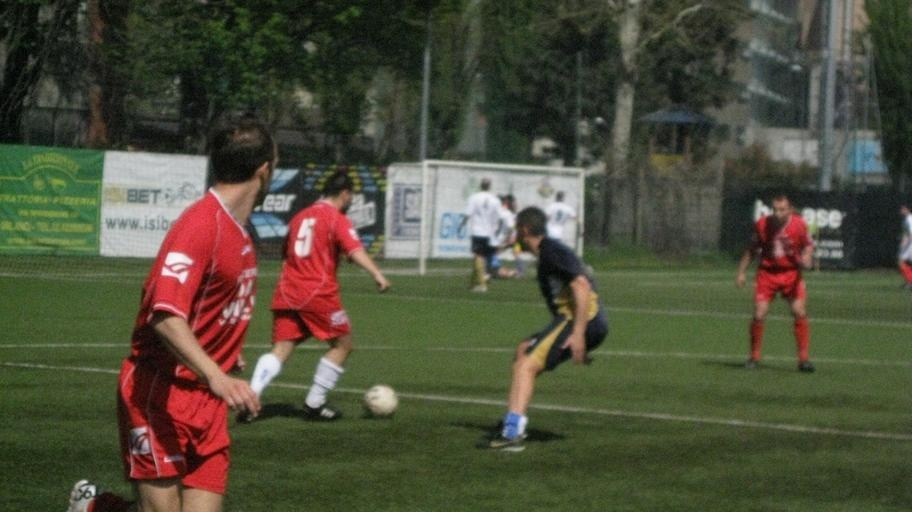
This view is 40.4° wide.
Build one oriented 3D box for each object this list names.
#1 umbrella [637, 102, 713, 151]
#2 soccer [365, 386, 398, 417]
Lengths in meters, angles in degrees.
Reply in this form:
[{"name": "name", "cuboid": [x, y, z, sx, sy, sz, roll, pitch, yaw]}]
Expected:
[{"name": "umbrella", "cuboid": [8.598, -5.142, 48.611, 2.312, 1.170, 2.325, -12, 20, -40]}, {"name": "soccer", "cuboid": [-1.416, 2.828, 23.818, 0.605, 0.556, 0.600, 14, -21, -10]}]
